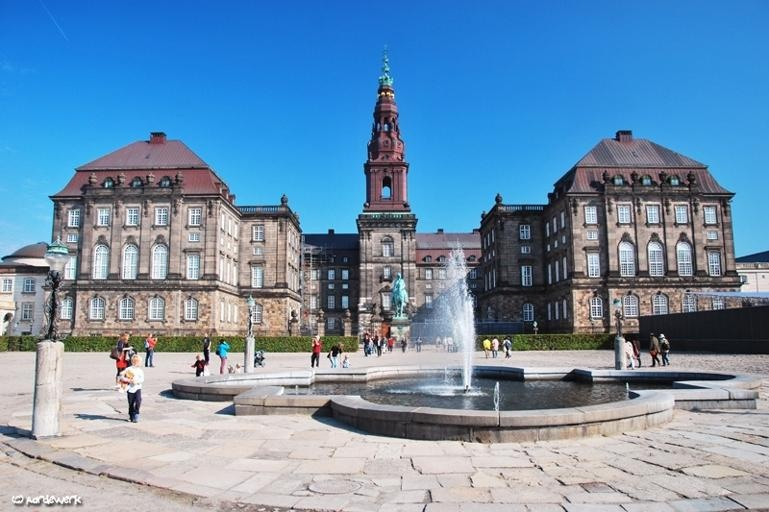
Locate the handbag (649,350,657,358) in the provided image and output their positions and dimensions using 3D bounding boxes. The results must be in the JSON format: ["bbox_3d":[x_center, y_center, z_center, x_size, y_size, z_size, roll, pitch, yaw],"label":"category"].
[{"bbox_3d":[14.935,5.523,36.377,0.430,0.397,0.448,2,-11,33],"label":"handbag"}]

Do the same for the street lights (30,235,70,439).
[{"bbox_3d":[-10.256,2.466,20.101,0.781,6.132,0.838,3,-12,-25],"label":"street lights"}]
